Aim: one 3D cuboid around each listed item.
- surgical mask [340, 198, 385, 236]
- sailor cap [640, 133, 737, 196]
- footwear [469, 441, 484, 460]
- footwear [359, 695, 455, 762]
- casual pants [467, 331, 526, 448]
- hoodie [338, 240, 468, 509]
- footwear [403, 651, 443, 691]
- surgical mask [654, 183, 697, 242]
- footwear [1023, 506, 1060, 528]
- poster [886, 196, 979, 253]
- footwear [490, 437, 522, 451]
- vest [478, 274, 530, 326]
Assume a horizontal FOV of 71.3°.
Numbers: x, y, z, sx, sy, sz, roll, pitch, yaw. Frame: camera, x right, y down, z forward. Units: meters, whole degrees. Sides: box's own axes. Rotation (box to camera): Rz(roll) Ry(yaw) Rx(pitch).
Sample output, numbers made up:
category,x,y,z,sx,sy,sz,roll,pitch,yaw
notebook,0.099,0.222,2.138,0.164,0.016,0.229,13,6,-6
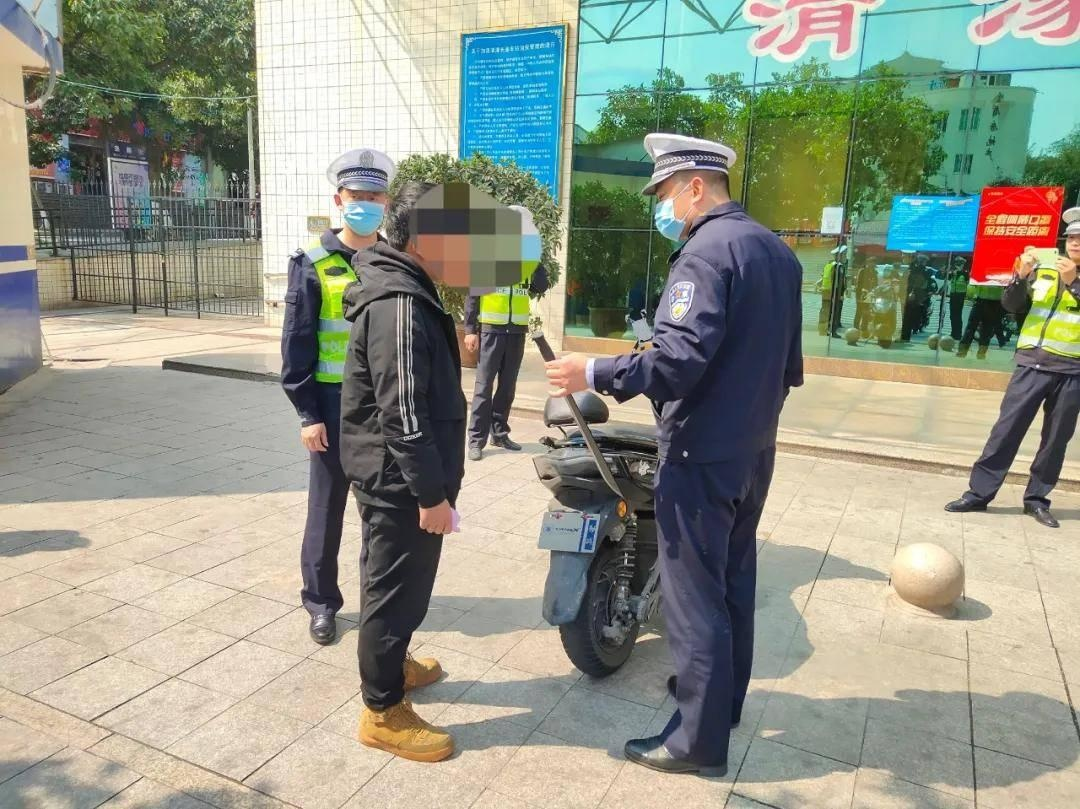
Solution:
category,x,y,z,sx,sy,sz,roll,pitch,yaw
surgical mask,-0.953,-1.039,4.128,0.170,0.112,0.194,-5,33,-19
sailor cap,0.665,-1.107,3.389,0.479,0.226,0.404,-7,7,1
footwear,-0.581,0.423,7.035,0.128,0.141,0.150,1,15,-6
footwear,-0.563,1.427,3.450,0.476,0.280,0.198,6,14,3
casual pants,-0.393,-0.210,7.223,0.482,1.302,0.344,3,3,-31
hoodie,-0.594,-0.114,3.220,0.549,1.113,0.511,3,15,5
footwear,-0.570,1.313,3.836,0.103,0.153,0.230,18,26,32
surgical mask,0.617,-0.864,3.380,0.117,0.173,0.158,26,3,13
footwear,3.917,0.858,5.889,0.104,0.094,0.242,-4,12,1
poster,5.534,-2.553,10.525,0.871,0.583,0.013,8,17,32
footwear,-0.313,0.362,7.460,0.340,0.129,0.119,10,15,6
vest,-0.295,-0.943,7.068,0.482,0.387,0.397,-2,15,-14
